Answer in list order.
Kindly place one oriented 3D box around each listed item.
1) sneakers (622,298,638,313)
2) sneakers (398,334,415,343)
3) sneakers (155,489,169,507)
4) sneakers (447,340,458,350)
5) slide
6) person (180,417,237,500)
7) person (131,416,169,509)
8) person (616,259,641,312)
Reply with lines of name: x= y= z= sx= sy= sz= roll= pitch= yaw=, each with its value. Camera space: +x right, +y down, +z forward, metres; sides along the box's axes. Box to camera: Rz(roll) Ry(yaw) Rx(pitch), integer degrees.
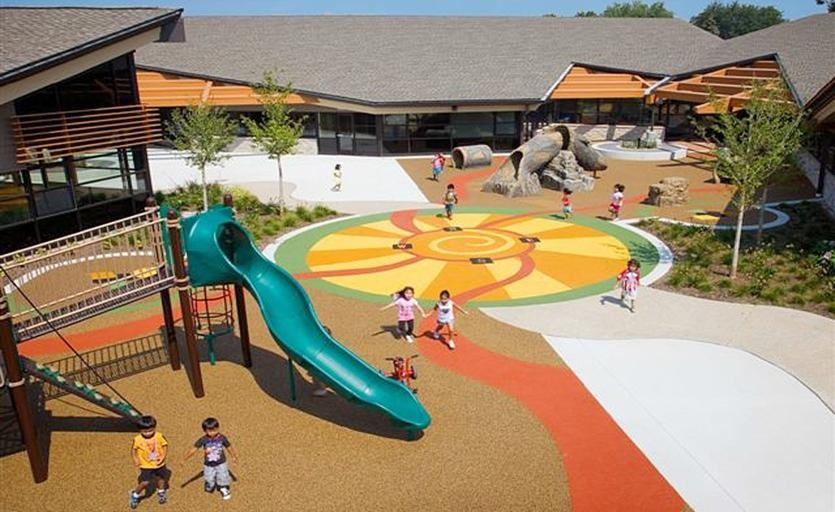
sneakers: x=7.934 y=1.856 z=22.098 sx=0.233 sy=0.209 sz=0.648 roll=33 pitch=23 yaw=9
sneakers: x=-0.359 y=2.858 z=20.533 sx=0.640 sy=0.252 sz=0.206 roll=3 pitch=18 yaw=42
sneakers: x=-6.693 y=6.303 z=15.542 sx=0.244 sy=0.428 sz=0.199 roll=4 pitch=1 yaw=-12
sneakers: x=1.141 y=2.983 z=20.112 sx=0.229 sy=0.140 sz=0.345 roll=-7 pitch=46 yaw=4
slide: x=-4.147 y=2.375 z=19.944 sx=8.634 sy=3.526 sz=1.532 roll=41 pitch=46 yaw=9
person: x=-5.365 y=5.236 z=15.484 sx=0.985 sy=2.028 sz=1.108 roll=-7 pitch=19 yaw=-23
person: x=-7.094 y=5.270 z=15.519 sx=0.999 sy=2.228 sz=1.147 roll=-5 pitch=19 yaw=-17
person: x=7.895 y=1.045 z=22.050 sx=0.705 sy=1.809 sz=0.996 roll=7 pitch=19 yaw=20
